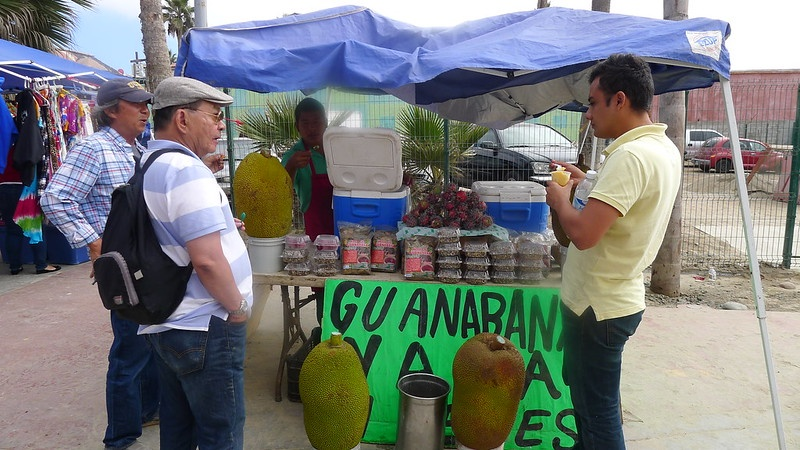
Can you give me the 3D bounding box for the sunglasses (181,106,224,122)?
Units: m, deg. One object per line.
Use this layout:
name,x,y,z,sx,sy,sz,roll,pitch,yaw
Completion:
sunglasses,-1.658,-0.963,4.728,0.189,0.052,0.148,12,7,-31

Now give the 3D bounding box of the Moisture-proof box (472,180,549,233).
Moisture-proof box,1.277,-0.196,6.033,0.670,0.377,0.646,0,9,-2

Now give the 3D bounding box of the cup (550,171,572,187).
cup,1.443,-0.409,4.906,0.147,0.097,0.151,0,4,0

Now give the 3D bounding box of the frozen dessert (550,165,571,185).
frozen dessert,1.442,-0.452,4.994,0.217,0.143,0.172,3,6,42

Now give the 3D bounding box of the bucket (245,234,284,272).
bucket,-1.419,0.296,5.921,0.381,0.273,0.395,0,2,0

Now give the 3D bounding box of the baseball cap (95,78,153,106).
baseball cap,-2.864,-1.346,5.637,0.579,0.262,0.416,-12,6,-22

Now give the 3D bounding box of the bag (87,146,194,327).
bag,-2.125,0.102,4.555,0.750,1.420,0.264,-1,7,7

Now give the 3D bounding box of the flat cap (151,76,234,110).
flat cap,-1.808,-1.157,4.811,0.727,0.241,0.452,-1,14,-2

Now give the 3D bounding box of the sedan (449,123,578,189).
sedan,2.163,-1.265,10.149,1.244,0.881,2.104,-4,4,-37

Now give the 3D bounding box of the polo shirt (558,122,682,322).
polo shirt,1.985,-0.033,4.881,1.031,1.695,0.416,-3,7,-10

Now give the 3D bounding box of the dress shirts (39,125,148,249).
dress shirts,-3.242,-0.444,5.785,0.637,1.142,1.430,0,7,-5
